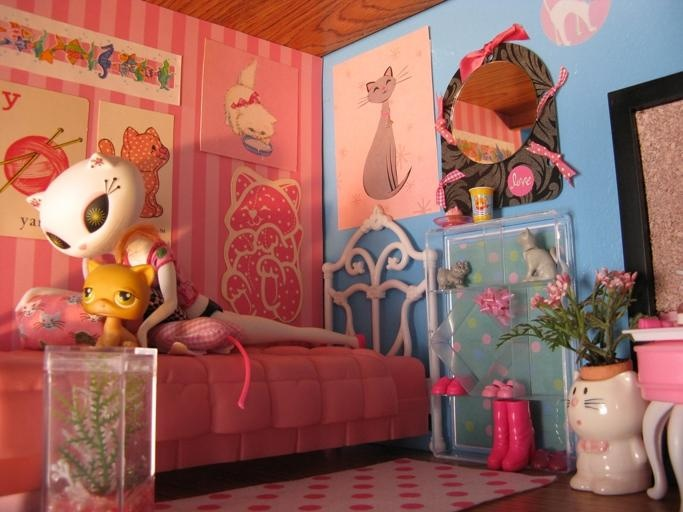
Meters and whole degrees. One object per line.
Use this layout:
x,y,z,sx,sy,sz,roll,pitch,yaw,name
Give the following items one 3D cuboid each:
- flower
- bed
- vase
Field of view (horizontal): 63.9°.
1.028,0.181,2.501,0.471,0.357,0.468,-15,3,-20,flower
-0.625,0.285,2.872,2.037,1.260,1.148,1,-3,-39,bed
1.088,0.686,2.215,0.253,0.514,0.321,7,-12,-43,vase
